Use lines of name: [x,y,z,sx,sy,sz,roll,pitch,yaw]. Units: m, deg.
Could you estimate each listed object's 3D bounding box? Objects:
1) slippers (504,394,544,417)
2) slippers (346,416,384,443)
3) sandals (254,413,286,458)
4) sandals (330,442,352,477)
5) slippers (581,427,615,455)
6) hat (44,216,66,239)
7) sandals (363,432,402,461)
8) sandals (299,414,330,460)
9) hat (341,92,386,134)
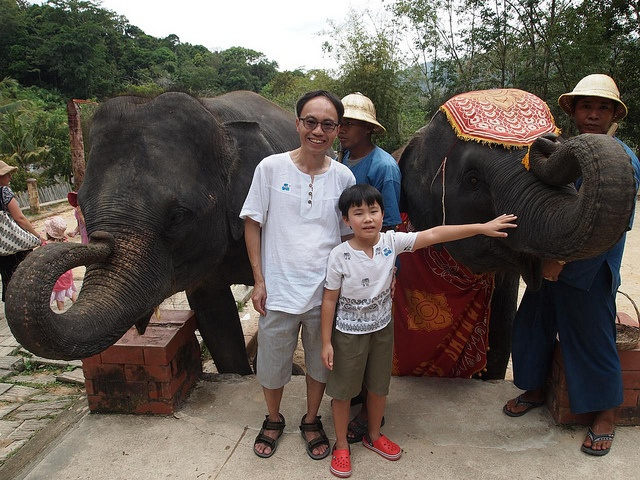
slippers: [1.249,1.033,2.918,0.241,0.114,0.074,-14,-27,7]
slippers: [0.247,1.108,2.782,0.085,0.074,0.241,4,5,32]
sandals: [-0.289,1.104,2.698,0.099,0.104,0.259,7,27,11]
sandals: [0.110,1.189,2.496,0.071,0.066,0.162,4,-2,2]
slippers: [1.550,1.129,2.613,0.098,0.063,0.263,-3,6,30]
hat: [-3.178,-0.138,5.590,0.140,0.275,0.246,-31,-17,22]
sandals: [0.345,1.148,2.639,0.194,0.081,0.094,11,19,34]
sandals: [-0.028,1.119,2.628,0.106,0.098,0.258,-8,20,-10]
hat: [0.261,-0.799,2.898,0.234,0.127,0.242,17,2,31]
